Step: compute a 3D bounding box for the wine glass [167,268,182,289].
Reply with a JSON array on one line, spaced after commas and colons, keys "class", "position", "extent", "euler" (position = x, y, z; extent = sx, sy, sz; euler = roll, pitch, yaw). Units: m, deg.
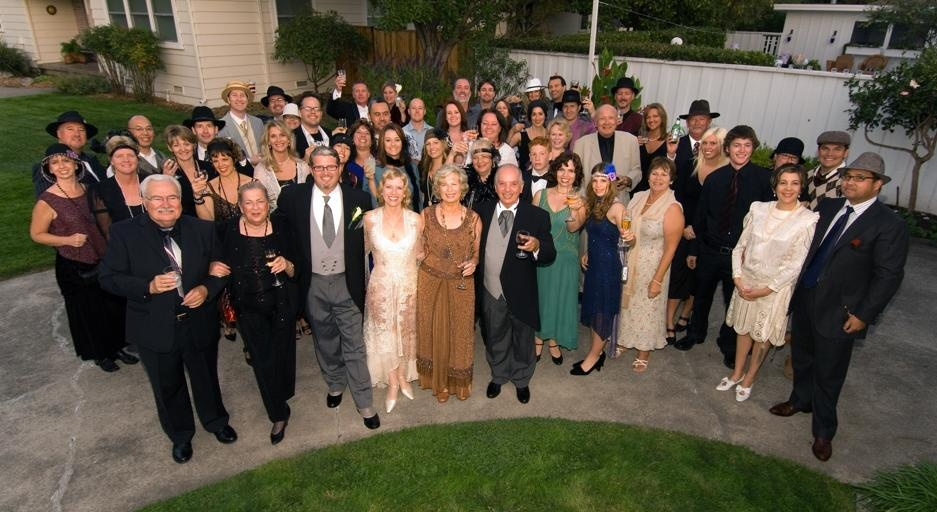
[{"class": "wine glass", "position": [-4.673, 0.373, 8.761], "extent": [0.183, 0.315, 0.298], "euler": [-11, 28, -28]}]

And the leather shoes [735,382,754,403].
[{"class": "leather shoes", "position": [5.020, 2.512, 10.073], "extent": [0.201, 0.138, 0.396], "euler": [6, 36, 39]}]

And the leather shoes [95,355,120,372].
[{"class": "leather shoes", "position": [-6.835, 2.043, 10.459], "extent": [0.623, 0.251, 0.201], "euler": [6, 35, 14]}]

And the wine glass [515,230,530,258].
[{"class": "wine glass", "position": [0.951, -0.156, 9.441], "extent": [0.257, 0.490, 0.212], "euler": [6, 25, 7]}]

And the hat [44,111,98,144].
[{"class": "hat", "position": [-7.800, -2.558, 10.791], "extent": [0.702, 0.564, 0.792], "euler": [-5, 25, -18]}]

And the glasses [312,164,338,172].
[{"class": "glasses", "position": [-2.412, -1.481, 9.285], "extent": [0.407, 0.087, 0.092], "euler": [-3, 24, -15]}]

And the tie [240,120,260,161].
[{"class": "tie", "position": [-4.912, -2.656, 12.328], "extent": [0.276, 0.694, 0.306], "euler": [24, 32, 38]}]

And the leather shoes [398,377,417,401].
[{"class": "leather shoes", "position": [-1.115, 2.422, 9.997], "extent": [0.189, 0.518, 0.135], "euler": [-27, 17, -6]}]

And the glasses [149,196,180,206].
[{"class": "glasses", "position": [-4.752, -0.882, 8.609], "extent": [0.400, 0.124, 0.088], "euler": [-7, 26, -22]}]

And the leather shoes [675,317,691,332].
[{"class": "leather shoes", "position": [4.398, 1.453, 11.405], "extent": [0.239, 0.297, 0.209], "euler": [11, 26, 17]}]

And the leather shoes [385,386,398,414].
[{"class": "leather shoes", "position": [-1.371, 2.564, 9.848], "extent": [0.188, 0.513, 0.096], "euler": [7, 8, 10]}]

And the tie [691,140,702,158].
[{"class": "tie", "position": [4.648, -2.188, 11.285], "extent": [0.140, 0.258, 0.567], "euler": [13, 25, 21]}]

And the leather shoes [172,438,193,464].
[{"class": "leather shoes", "position": [-4.753, 3.283, 9.162], "extent": [0.253, 0.176, 0.419], "euler": [2, 29, -40]}]

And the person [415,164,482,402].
[{"class": "person", "position": [-0.372, 0.575, 9.651], "extent": [1.049, 4.048, 1.275], "euler": [3, 25, 0]}]

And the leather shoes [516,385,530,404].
[{"class": "leather shoes", "position": [1.000, 2.537, 10.008], "extent": [0.189, 0.139, 0.343], "euler": [-9, 23, -5]}]

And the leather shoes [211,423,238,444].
[{"class": "leather shoes", "position": [-4.134, 3.045, 9.428], "extent": [0.491, 0.193, 0.249], "euler": [5, 16, 28]}]

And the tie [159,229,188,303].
[{"class": "tie", "position": [-4.715, 0.173, 8.853], "extent": [0.307, 1.212, 0.229], "euler": [-12, -11, -16]}]

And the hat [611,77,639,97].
[{"class": "hat", "position": [3.754, -4.067, 13.212], "extent": [0.567, 0.403, 1.095], "euler": [8, 23, 11]}]

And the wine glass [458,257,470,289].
[{"class": "wine glass", "position": [-0.069, 0.311, 9.553], "extent": [0.221, 0.531, 0.255], "euler": [2, 25, -2]}]

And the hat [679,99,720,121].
[{"class": "hat", "position": [4.997, -3.042, 11.795], "extent": [0.868, 0.352, 0.984], "euler": [3, 3, 32]}]

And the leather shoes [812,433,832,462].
[{"class": "leather shoes", "position": [6.014, 3.263, 9.340], "extent": [0.200, 0.240, 0.575], "euler": [-3, 10, 24]}]

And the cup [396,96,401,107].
[{"class": "cup", "position": [-1.682, -3.735, 13.318], "extent": [0.128, 0.201, 0.205], "euler": [3, 24, 0]}]

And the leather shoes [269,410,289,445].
[{"class": "leather shoes", "position": [-3.233, 2.973, 9.480], "extent": [0.237, 0.620, 0.201], "euler": [11, 3, 34]}]

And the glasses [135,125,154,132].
[{"class": "glasses", "position": [-6.306, -2.471, 10.682], "extent": [0.215, 0.061, 0.207], "euler": [-3, 3, -34]}]

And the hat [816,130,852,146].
[{"class": "hat", "position": [6.791, -2.238, 10.268], "extent": [0.399, 0.149, 0.438], "euler": [1, -2, -34]}]

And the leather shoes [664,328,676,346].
[{"class": "leather shoes", "position": [4.105, 1.671, 11.190], "extent": [0.162, 0.177, 0.460], "euler": [-2, 6, 17]}]

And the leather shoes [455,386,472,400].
[{"class": "leather shoes", "position": [-0.066, 2.478, 9.935], "extent": [0.292, 0.270, 0.295], "euler": [1, 8, 8]}]
